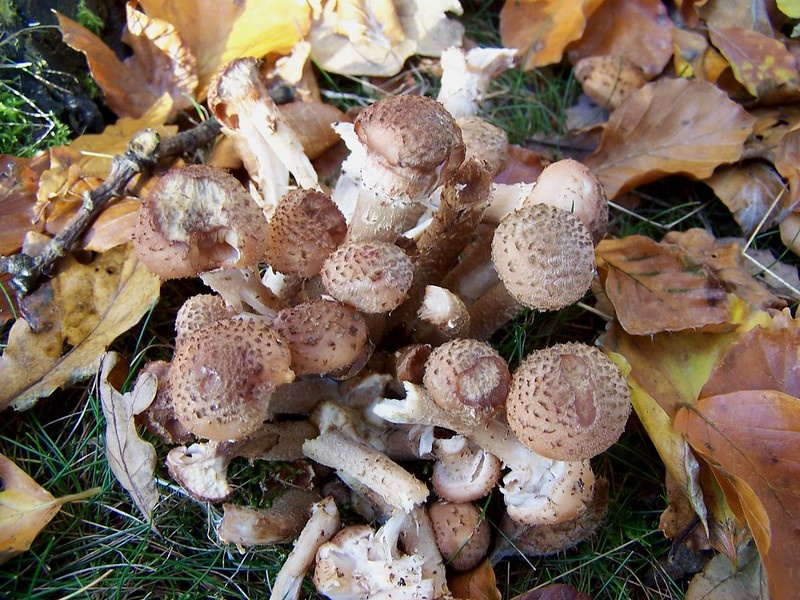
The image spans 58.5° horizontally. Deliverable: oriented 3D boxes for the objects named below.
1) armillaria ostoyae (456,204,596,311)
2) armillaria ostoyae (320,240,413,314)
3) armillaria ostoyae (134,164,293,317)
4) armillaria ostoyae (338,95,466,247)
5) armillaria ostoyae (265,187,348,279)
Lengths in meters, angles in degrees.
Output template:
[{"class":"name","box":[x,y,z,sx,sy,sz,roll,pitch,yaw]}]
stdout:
[{"class":"armillaria ostoyae","box":[0.537,-0.198,2.831,0.372,0.319,0.371,45,94,-4]},{"class":"armillaria ostoyae","box":[-0.126,-0.105,2.647,0.266,0.148,0.273,-33,67,-21]},{"class":"armillaria ostoyae","box":[-0.710,-0.228,2.776,0.408,0.662,0.426,20,80,1]},{"class":"armillaria ostoyae","box":[0.017,-0.423,2.963,0.417,0.959,0.492,7,78,-1]},{"class":"armillaria ostoyae","box":[-0.381,-0.230,2.825,0.301,0.154,0.351,-22,100,-37]}]
